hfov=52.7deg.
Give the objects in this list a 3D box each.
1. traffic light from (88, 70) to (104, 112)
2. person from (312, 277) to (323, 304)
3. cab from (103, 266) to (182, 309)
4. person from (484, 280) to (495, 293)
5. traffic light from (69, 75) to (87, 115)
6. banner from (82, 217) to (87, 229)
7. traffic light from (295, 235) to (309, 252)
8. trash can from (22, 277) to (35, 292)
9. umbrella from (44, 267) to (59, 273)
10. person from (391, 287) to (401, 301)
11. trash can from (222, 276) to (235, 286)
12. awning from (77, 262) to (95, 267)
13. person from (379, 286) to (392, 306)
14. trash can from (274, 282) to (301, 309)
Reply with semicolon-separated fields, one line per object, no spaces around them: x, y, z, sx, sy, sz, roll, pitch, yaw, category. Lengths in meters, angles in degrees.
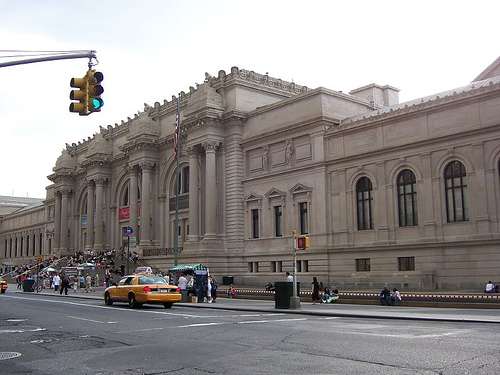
-5.357;-3.382;17.517;0.527;1.551;0.478;3;-14;-18;traffic light
4.314;6.582;32.345;0.577;1.705;1.361;-3;-13;7;person
-6.199;5.925;28.823;4.722;1.917;1.610;-13;-18;40;cab
15.104;6.259;31.828;0.561;0.842;2.463;-7;-15;25;person
-5.954;-3.201;17.571;0.568;1.406;0.499;4;-14;-21;traffic light
-26.013;5.543;79.391;0.212;1.632;1.559;8;-17;-35;banner
2.880;3.028;27.824;0.521;0.735;1.163;0;-14;-4;traffic light
-21.841;9.582;49.874;1.213;1.712;1.651;1;-2;-27;trash can
-24.699;10.265;62.577;1.306;0.710;1.933;4;-10;-28;umbrella
8.604;6.353;29.823;0.557;0.687;0.807;-5;-14;15;person
-2.173;9.379;50.636;1.192;0.988;0.976;0;-13;-5;trash can
-18.974;8.989;58.417;1.706;0.487;1.638;2;-14;-13;awning
7.999;6.449;29.815;0.627;1.070;1.079;-4;-14;14;person
1.895;5.896;27.576;1.172;1.726;1.305;-5;-10;27;trash can
